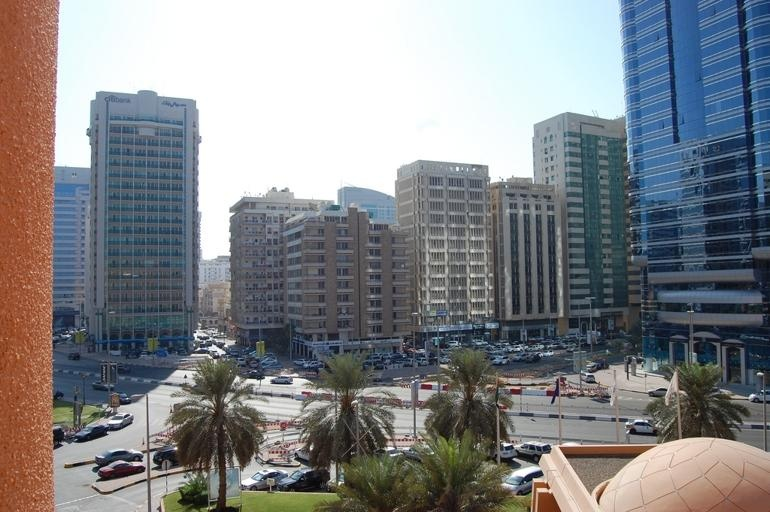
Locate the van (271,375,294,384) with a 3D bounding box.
[{"bbox_3d":[-15.672,19.097,122.486,2.394,1.160,1.525,4,-8,5],"label":"van"}]

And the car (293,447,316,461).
[{"bbox_3d":[-9.122,22.173,90.341,2.145,1.456,3.703,1,-6,-18],"label":"car"}]

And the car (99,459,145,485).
[{"bbox_3d":[-29.119,23.953,88.897,4.261,1.394,1.984,-3,4,-26],"label":"car"}]

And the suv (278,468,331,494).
[{"bbox_3d":[-8.816,24.450,86.640,4.954,2.161,2.553,5,-10,-14],"label":"suv"}]

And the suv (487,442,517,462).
[{"bbox_3d":[13.539,22.072,89.901,1.307,2.028,4.030,-8,-12,44],"label":"suv"}]

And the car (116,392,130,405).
[{"bbox_3d":[-36.228,19.927,111.135,1.097,0.916,2.433,2,-5,-33],"label":"car"}]

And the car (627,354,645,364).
[{"bbox_3d":[42.154,17.350,133.739,3.068,0.987,1.922,-2,5,-18],"label":"car"}]

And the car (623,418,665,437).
[{"bbox_3d":[31.077,20.704,96.638,3.480,1.306,1.914,-4,3,9],"label":"car"}]

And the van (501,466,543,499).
[{"bbox_3d":[14.734,23.889,84.905,3.370,2.613,4.215,-3,-10,21],"label":"van"}]

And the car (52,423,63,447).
[{"bbox_3d":[-39.179,21.655,96.162,1.132,2.310,2.100,2,-9,-13],"label":"car"}]

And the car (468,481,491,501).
[{"bbox_3d":[8.706,21.803,74.291,1.527,1.316,1.512,2,-4,-19],"label":"car"}]

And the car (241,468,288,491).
[{"bbox_3d":[-13.195,24.432,86.859,4.531,1.590,2.070,4,-8,-37],"label":"car"}]

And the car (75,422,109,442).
[{"bbox_3d":[-35.704,21.664,97.728,1.593,1.268,2.985,2,-2,44],"label":"car"}]

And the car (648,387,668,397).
[{"bbox_3d":[38.101,18.907,111.066,2.036,1.250,3.843,0,-9,2],"label":"car"}]
